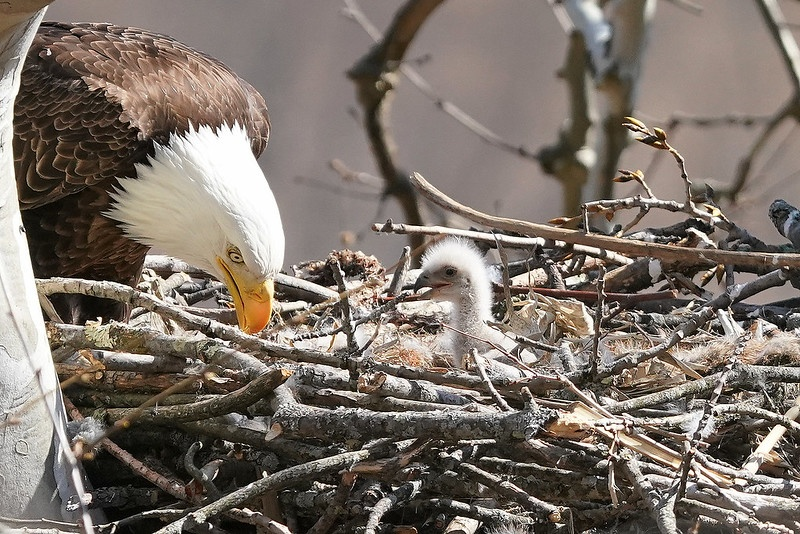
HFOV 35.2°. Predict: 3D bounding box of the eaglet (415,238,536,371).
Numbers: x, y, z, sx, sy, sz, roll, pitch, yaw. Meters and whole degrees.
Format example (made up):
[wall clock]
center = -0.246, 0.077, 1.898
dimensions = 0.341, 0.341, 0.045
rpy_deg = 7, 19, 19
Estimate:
[eaglet]
center = 0.205, 0.135, 4.341
dimensions = 0.514, 0.444, 0.227
rpy_deg = -6, 6, -45
